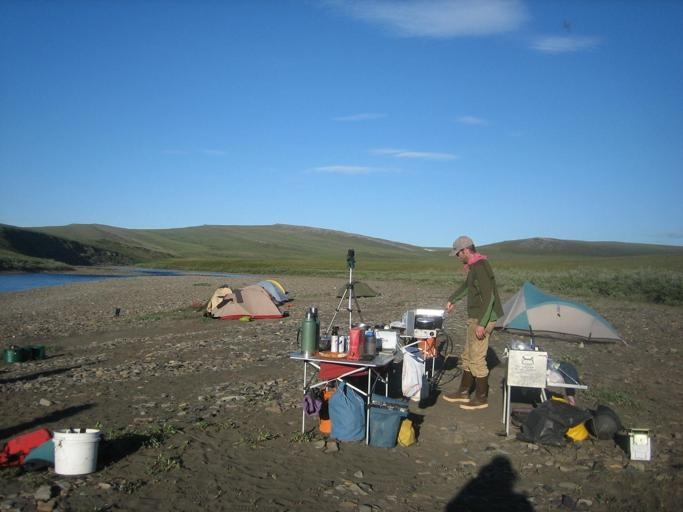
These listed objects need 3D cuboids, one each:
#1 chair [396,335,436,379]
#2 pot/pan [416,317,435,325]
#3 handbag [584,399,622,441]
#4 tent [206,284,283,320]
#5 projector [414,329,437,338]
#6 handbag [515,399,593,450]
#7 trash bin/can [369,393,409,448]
[{"bbox_3d":[1.828,2.349,10.861,0.811,0.912,0.687,2,-19,11],"label":"chair"},{"bbox_3d":[1.764,1.383,9.743,0.349,0.161,0.232,1,4,8],"label":"pot/pan"},{"bbox_3d":[4.652,2.948,8.204,0.597,0.499,0.232,6,-20,6],"label":"handbag"},{"bbox_3d":[-4.750,2.129,22.306,4.050,1.067,3.569,0,10,0],"label":"tent"},{"bbox_3d":[1.754,1.629,9.666,0.446,0.193,0.156,1,4,10],"label":"projector"},{"bbox_3d":[3.802,2.893,8.372,1.270,0.366,0.948,-16,12,-30],"label":"handbag"},{"bbox_3d":[0.819,2.900,8.020,0.649,0.723,0.422,1,4,3],"label":"trash bin/can"}]
